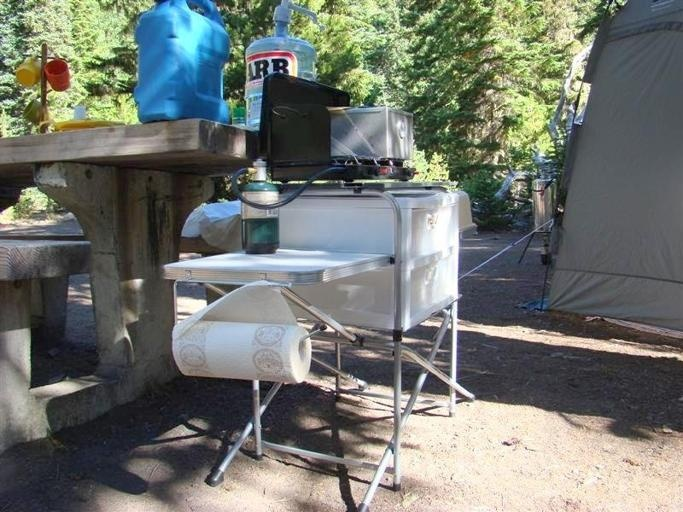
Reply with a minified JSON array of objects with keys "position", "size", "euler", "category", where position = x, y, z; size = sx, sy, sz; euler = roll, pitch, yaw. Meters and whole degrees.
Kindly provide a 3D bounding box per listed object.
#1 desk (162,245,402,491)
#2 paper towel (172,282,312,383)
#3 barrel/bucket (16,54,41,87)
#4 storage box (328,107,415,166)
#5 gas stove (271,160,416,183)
[{"position":[-0.252,0.399,2.601],"size":[0.969,0.718,0.818],"euler":[-3,3,18],"category":"desk"},{"position":[-0.393,0.301,2.282],"size":[0.607,0.413,0.340],"euler":[0,-5,13],"category":"paper towel"},{"position":[-1.842,-1.091,3.396],"size":[0.133,0.174,0.164],"euler":[-2,10,-28],"category":"barrel/bucket"},{"position":[0.160,-0.605,3.088],"size":[0.413,0.287,0.434],"euler":[7,6,11],"category":"storage box"},{"position":[0.018,-0.413,3.042],"size":[0.674,0.167,0.570],"euler":[5,6,20],"category":"gas stove"}]
